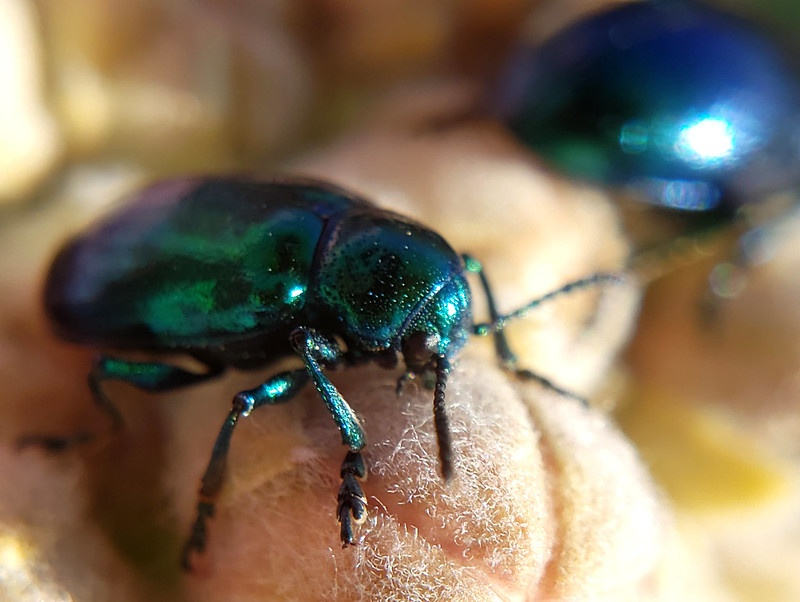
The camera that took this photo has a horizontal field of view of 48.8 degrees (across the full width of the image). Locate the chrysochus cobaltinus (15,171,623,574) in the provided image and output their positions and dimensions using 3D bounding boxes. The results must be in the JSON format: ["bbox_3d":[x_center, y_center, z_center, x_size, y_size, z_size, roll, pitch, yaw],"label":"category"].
[{"bbox_3d":[-0.116,0.018,1.311,0.837,0.312,0.762,12,23,20],"label":"chrysochus cobaltinus"}]
